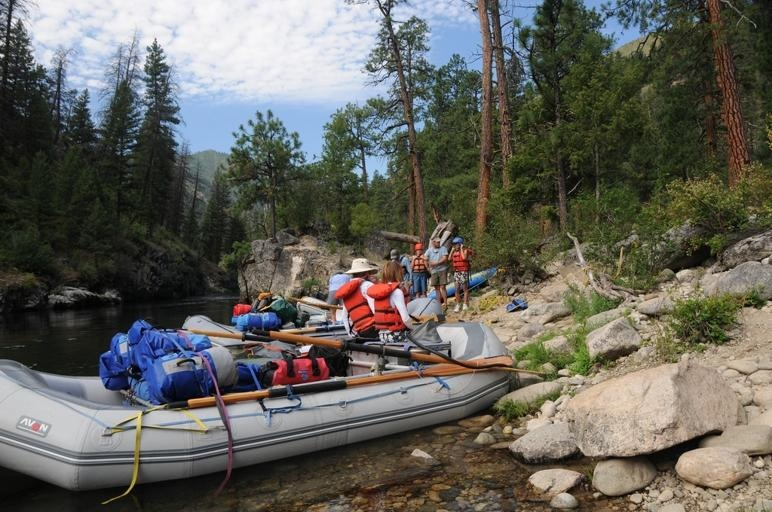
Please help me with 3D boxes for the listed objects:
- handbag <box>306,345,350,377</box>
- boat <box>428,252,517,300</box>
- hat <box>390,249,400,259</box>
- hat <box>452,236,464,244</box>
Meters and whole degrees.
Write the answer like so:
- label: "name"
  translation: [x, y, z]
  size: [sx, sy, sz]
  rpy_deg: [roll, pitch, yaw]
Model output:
- label: "handbag"
  translation: [-1.323, 2.497, 14.943]
  size: [0.648, 0.333, 0.887]
  rpy_deg: [4, -18, 34]
- label: "boat"
  translation: [3.080, 0.728, 22.114]
  size: [1.832, 0.477, 0.546]
  rpy_deg: [-40, 26, -2]
- label: "hat"
  translation: [0.252, -0.024, 20.808]
  size: [0.271, 0.214, 0.425]
  rpy_deg: [-3, 17, 6]
- label: "hat"
  translation: [2.509, -0.521, 21.185]
  size: [0.339, 0.186, 0.245]
  rpy_deg: [13, -7, -20]
